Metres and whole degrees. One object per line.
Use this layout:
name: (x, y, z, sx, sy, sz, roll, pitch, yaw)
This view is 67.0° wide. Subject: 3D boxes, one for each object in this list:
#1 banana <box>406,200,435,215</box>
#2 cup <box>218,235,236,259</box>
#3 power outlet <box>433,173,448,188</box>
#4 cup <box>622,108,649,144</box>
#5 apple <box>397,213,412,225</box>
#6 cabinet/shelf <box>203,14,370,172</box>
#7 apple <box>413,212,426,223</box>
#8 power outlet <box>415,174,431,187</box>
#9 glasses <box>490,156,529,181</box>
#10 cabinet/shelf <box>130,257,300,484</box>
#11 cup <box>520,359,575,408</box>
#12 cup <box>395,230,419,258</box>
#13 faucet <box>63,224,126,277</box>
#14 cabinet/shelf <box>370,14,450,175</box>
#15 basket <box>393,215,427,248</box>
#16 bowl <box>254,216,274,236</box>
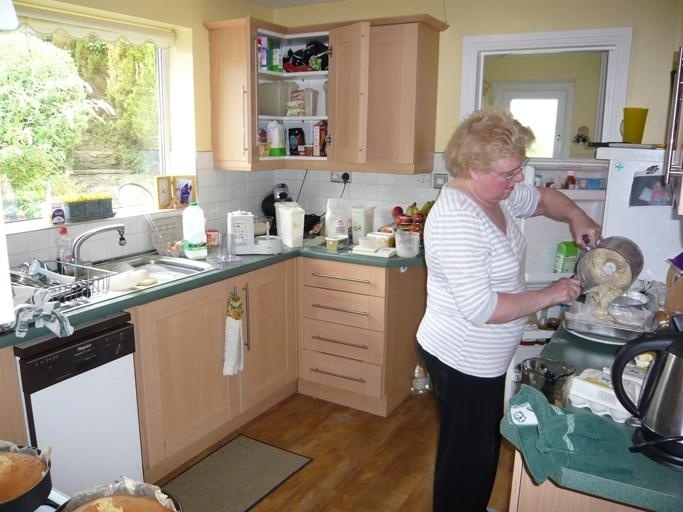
banana: (0.566, -0.336, 3.678, 0.122, 0.108, 0.198, 1, 4, -37)
cup: (-0.728, -0.069, 3.301, 0.115, 0.137, 0.380, -4, 14, -13)
power outlet: (0.712, -0.546, 3.717, 0.135, 0.133, 0.093, 2, 5, 34)
cup: (1.493, -0.664, 2.635, 0.099, 0.178, 0.135, 6, 16, 26)
apple: (0.438, -0.245, 3.534, 0.104, 0.061, 0.072, -8, 16, -26)
cabinet/shelf: (-0.300, -0.977, 3.361, 0.668, 0.947, 0.842, 19, 27, 22)
apple: (0.544, -0.260, 3.565, 0.073, 0.052, 0.066, 2, 6, 23)
power outlet: (0.607, -0.549, 3.767, 0.095, 0.093, 0.023, 3, 14, 29)
glasses: (0.634, -0.317, 1.998, 0.099, 0.030, 0.098, -35, 58, -13)
cabinet/shelf: (-0.751, 0.674, 2.973, 0.420, 0.950, 1.106, 4, 9, 30)
cup: (0.699, 0.438, 1.752, 0.152, 0.152, 0.116, 10, 24, 38)
cup: (0.434, -0.069, 3.419, 0.172, 0.150, 0.135, 5, 11, 23)
faucet: (-1.273, -0.018, 2.718, 0.282, 0.311, 0.187, -6, 41, -19)
cabinet/shelf: (0.382, -1.119, 3.623, 0.624, 0.982, 0.617, -5, 20, -12)
basket: (0.478, -0.174, 3.534, 0.201, 0.373, 0.204, 1, 5, 12)
bowl: (-0.542, -0.212, 3.642, 0.132, 0.150, 0.143, 4, 12, -1)
